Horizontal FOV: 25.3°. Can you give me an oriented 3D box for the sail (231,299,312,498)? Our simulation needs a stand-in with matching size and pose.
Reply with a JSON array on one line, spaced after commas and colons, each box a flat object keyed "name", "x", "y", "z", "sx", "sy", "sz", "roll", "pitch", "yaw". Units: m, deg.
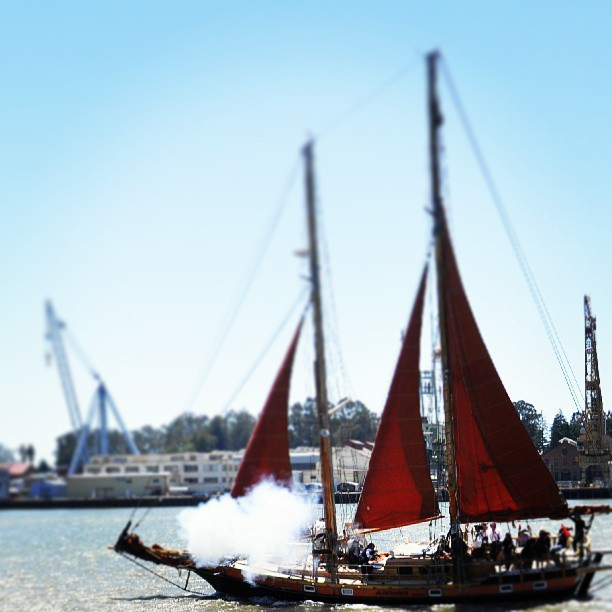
[{"name": "sail", "x": -1.853, "y": 5.797, "z": 66.912, "sx": 3.086, "sy": 10.070, "sz": 0.283, "roll": -12, "pitch": -56, "yaw": 11}]

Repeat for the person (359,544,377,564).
[{"name": "person", "x": 2.820, "y": 11.491, "z": 63.179, "sx": 0.481, "sy": 1.198, "sz": 1.281, "roll": -5, "pitch": -24, "yaw": 21}]

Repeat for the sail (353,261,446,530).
[{"name": "sail", "x": 3.900, "y": 4.426, "z": 61.256, "sx": 4.917, "sy": 0.196, "sz": 14.256, "roll": -6, "pitch": -59, "yaw": -5}]

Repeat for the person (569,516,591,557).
[{"name": "person", "x": 11.934, "y": 9.965, "z": 60.168, "sx": 0.921, "sy": 2.129, "sz": 0.553, "roll": 5, "pitch": 15, "yaw": 27}]

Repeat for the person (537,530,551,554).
[{"name": "person", "x": 10.450, "y": 10.381, "z": 60.212, "sx": 0.586, "sy": 1.024, "sz": 0.516, "roll": 3, "pitch": -20, "yaw": 0}]

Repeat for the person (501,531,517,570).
[{"name": "person", "x": 8.949, "y": 10.832, "z": 60.525, "sx": 0.531, "sy": 1.758, "sz": 0.789, "roll": -12, "pitch": -24, "yaw": 36}]
